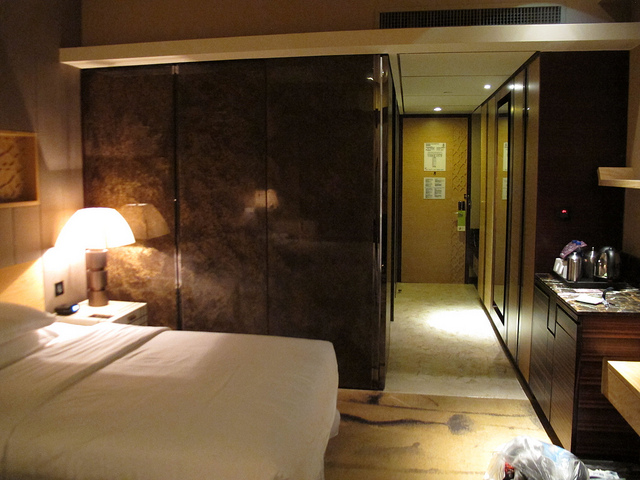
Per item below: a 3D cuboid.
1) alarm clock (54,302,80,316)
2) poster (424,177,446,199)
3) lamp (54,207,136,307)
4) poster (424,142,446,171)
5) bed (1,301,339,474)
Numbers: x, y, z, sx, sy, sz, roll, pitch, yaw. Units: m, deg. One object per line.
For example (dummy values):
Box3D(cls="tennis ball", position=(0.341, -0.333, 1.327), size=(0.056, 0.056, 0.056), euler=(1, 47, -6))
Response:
Box3D(cls="alarm clock", position=(-2.100, 0.568, 4.084), size=(0.111, 0.044, 0.117), euler=(1, 11, 7))
Box3D(cls="poster", position=(1.720, -0.798, 7.423), size=(0.289, 0.314, 0.043), euler=(2, 8, 2))
Box3D(cls="lamp", position=(-1.921, 0.170, 4.275), size=(0.609, 0.827, 0.640), euler=(-4, -3, 9))
Box3D(cls="poster", position=(1.718, -1.266, 7.378), size=(0.382, 0.537, 0.026), euler=(0, 4, 2))
Box3D(cls="bed", position=(-0.984, 0.941, 2.990), size=(2.038, 0.753, 1.141), euler=(0, 12, 8))
